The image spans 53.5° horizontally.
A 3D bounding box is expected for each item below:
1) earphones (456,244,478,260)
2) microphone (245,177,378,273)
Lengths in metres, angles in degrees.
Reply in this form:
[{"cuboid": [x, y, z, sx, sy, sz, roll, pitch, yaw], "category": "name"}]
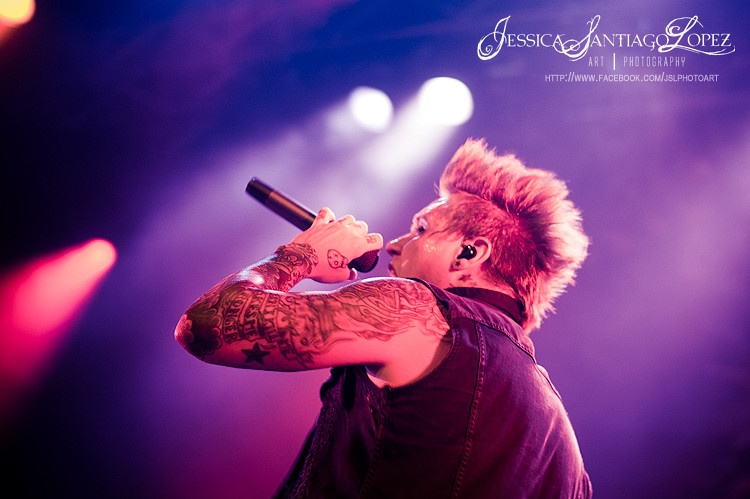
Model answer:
[{"cuboid": [0.555, 0.012, 4.515, 0.068, 0.114, 0.045, 64, 19, 14], "category": "earphones"}, {"cuboid": [-0.430, -0.069, 4.694, 0.888, 0.164, 0.183, 16, 16, -4], "category": "microphone"}]
